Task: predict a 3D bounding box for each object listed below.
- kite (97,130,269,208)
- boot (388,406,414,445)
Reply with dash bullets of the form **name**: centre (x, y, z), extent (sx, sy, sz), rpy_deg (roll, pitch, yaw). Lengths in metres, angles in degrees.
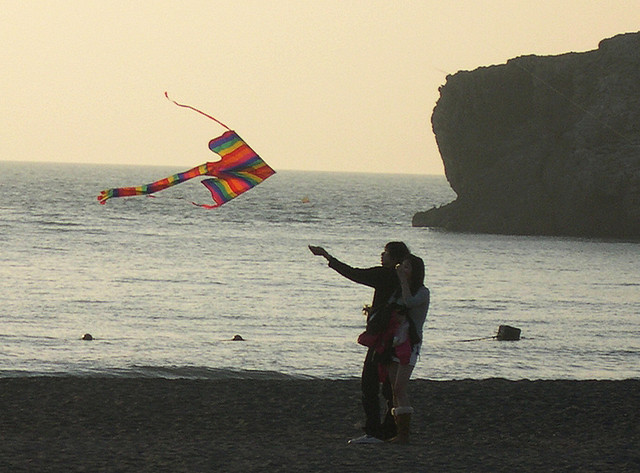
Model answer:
- **kite**: centre (-3.967, -1.749, 39.717), extent (4.388, 0.696, 2.179), rpy_deg (-16, -46, -3)
- **boot**: centre (2.371, 5.495, 40.681), extent (0.543, 1.061, 0.752), rpy_deg (8, -20, 4)
